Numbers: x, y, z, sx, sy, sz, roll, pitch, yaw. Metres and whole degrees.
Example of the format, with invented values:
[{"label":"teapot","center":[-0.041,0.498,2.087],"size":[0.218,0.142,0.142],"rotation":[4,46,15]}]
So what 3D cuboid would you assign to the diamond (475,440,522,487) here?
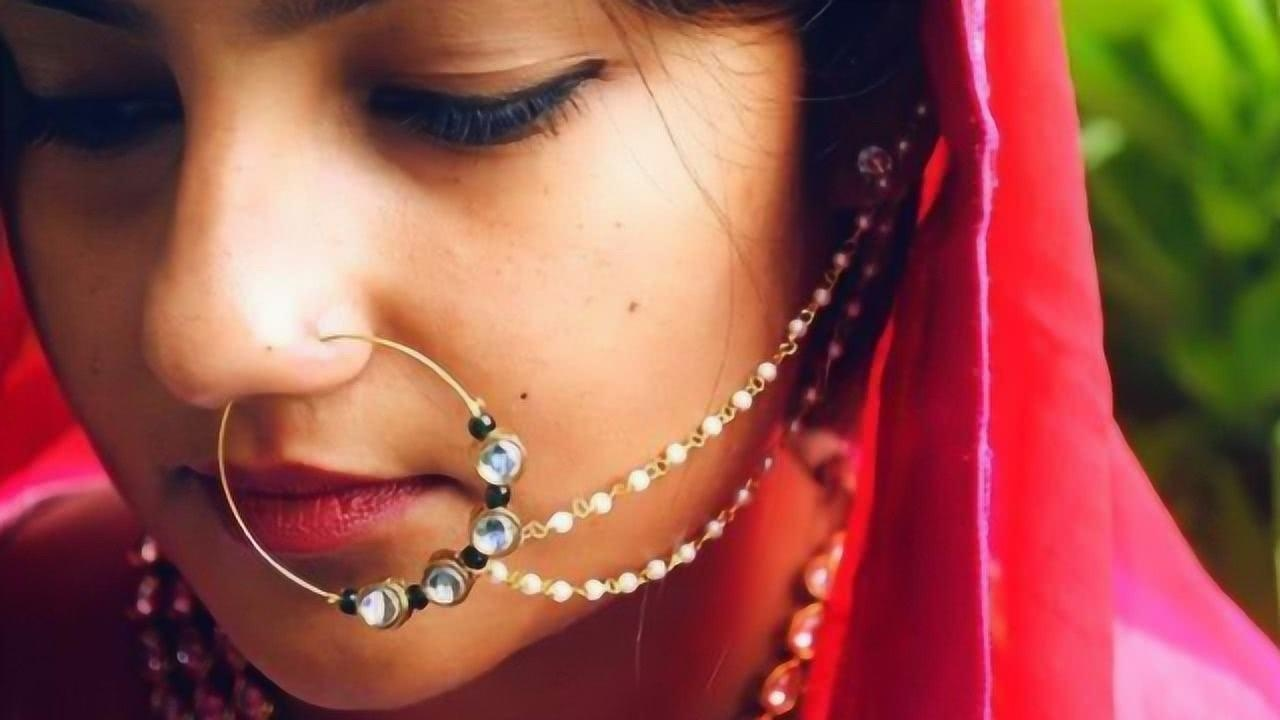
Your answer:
[{"label":"diamond","center":[-0.194,0.140,2.011],"size":[0.063,0.042,0.055],"rotation":[-3,66,-7]}]

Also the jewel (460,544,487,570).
[{"label":"jewel","center":[-0.233,0.279,2.031],"size":[0.030,0.019,0.035],"rotation":[-38,102,13]}]

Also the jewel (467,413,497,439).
[{"label":"jewel","center":[-0.220,0.093,2.007],"size":[0.029,0.024,0.038],"rotation":[6,94,-11]}]

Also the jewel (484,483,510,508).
[{"label":"jewel","center":[-0.199,0.192,2.026],"size":[0.025,0.034,0.036],"rotation":[6,92,25]}]

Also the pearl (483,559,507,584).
[{"label":"pearl","center":[-0.203,0.302,2.064],"size":[0.036,0.046,0.025],"rotation":[-1,64,-7]}]

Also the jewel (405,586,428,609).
[{"label":"jewel","center":[-0.314,0.334,2.031],"size":[0.025,0.008,0.036],"rotation":[2,86,4]}]

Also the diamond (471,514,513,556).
[{"label":"diamond","center":[-0.204,0.240,2.027],"size":[0.050,0.052,0.060],"rotation":[15,89,-2]}]

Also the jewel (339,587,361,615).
[{"label":"jewel","center":[-0.408,0.338,2.031],"size":[0.024,0.018,0.038],"rotation":[2,99,-6]}]

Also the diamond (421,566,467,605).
[{"label":"diamond","center":[-0.271,0.312,2.021],"size":[0.052,0.038,0.058],"rotation":[13,95,-4]}]
